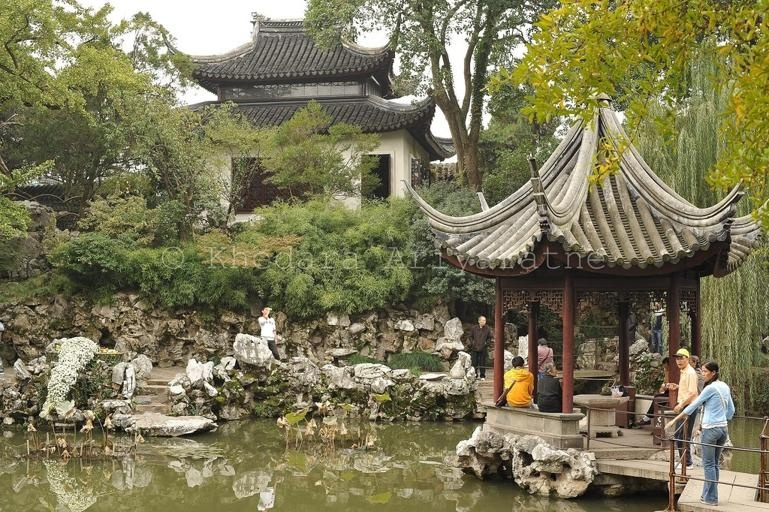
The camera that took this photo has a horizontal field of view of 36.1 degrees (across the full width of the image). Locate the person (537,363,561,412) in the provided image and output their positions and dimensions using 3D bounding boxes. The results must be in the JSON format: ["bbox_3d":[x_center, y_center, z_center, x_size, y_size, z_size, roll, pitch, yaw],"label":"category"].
[{"bbox_3d":[3.654,2.862,26.383,0.620,1.063,0.737,5,23,11],"label":"person"}]

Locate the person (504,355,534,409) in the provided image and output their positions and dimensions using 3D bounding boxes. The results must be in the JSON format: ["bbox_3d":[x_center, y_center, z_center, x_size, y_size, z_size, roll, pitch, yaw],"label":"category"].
[{"bbox_3d":[3.051,2.863,26.942,0.835,1.161,0.967,2,0,32],"label":"person"}]

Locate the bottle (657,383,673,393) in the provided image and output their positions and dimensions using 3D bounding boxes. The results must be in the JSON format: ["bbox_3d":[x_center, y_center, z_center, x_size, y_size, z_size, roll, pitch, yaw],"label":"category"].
[{"bbox_3d":[6.290,2.960,26.405,0.190,0.093,0.265,-13,-5,34],"label":"bottle"}]

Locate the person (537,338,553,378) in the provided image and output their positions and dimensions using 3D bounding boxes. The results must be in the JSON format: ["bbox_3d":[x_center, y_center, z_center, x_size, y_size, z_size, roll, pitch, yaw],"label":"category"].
[{"bbox_3d":[4.183,2.719,30.670,0.389,1.255,0.390,-6,23,6],"label":"person"}]

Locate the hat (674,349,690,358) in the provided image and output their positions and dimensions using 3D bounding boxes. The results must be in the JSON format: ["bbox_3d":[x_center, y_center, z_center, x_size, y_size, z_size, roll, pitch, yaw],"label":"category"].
[{"bbox_3d":[6.351,2.060,25.122,0.207,0.156,0.321,-5,-11,33],"label":"hat"}]

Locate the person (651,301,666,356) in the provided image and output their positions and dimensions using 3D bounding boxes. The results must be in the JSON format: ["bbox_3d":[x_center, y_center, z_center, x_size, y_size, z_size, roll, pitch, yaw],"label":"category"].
[{"bbox_3d":[7.525,1.973,32.469,0.385,1.360,1.097,-4,-4,9],"label":"person"}]

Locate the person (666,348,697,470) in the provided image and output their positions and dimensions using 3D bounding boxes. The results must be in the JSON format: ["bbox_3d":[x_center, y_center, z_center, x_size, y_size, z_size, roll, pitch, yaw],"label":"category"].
[{"bbox_3d":[6.375,3.254,25.107,0.710,2.430,0.892,-1,1,3],"label":"person"}]

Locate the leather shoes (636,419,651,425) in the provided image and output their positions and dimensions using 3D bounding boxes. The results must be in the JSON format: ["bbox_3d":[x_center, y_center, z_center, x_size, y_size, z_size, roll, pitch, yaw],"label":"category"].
[{"bbox_3d":[6.013,3.878,27.462,0.291,0.117,0.117,-1,2,12],"label":"leather shoes"}]

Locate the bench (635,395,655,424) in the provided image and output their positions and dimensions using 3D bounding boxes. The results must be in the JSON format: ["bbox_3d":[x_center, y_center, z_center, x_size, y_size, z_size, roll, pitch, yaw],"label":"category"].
[{"bbox_3d":[6.012,3.582,27.325,0.392,0.656,0.638,-3,-4,4],"label":"bench"}]

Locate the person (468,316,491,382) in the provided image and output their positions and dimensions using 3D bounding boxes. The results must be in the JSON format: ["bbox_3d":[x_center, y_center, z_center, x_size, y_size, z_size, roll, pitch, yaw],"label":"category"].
[{"bbox_3d":[2.668,2.544,32.711,0.613,1.742,1.180,-3,-4,4],"label":"person"}]

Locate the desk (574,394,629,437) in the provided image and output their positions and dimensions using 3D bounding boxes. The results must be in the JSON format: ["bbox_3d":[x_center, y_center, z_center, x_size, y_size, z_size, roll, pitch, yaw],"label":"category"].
[{"bbox_3d":[4.972,3.642,26.938,0.954,0.583,0.962,0,-6,2],"label":"desk"}]
